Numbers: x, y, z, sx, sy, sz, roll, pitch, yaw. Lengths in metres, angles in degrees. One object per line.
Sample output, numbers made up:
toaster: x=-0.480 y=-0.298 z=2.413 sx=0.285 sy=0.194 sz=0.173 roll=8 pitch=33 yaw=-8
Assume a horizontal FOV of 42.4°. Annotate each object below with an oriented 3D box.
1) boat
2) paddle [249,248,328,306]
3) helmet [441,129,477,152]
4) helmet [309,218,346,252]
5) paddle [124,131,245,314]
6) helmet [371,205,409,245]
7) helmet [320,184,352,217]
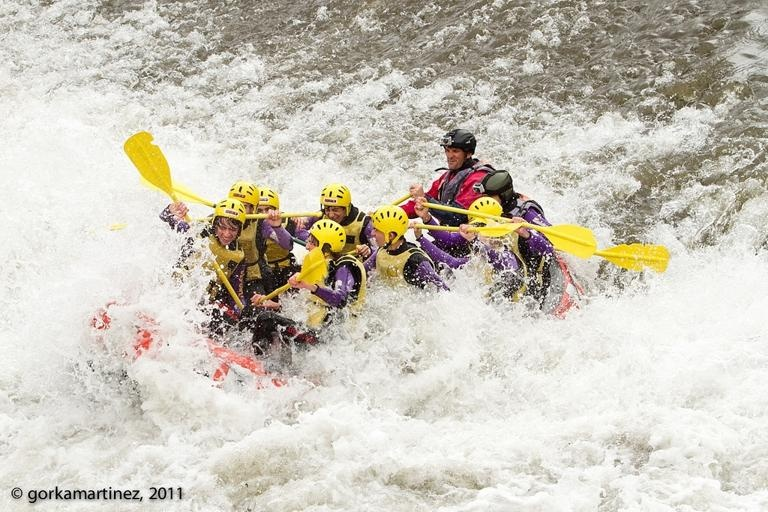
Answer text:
boat: x=-0.782 y=0.996 z=14.191 sx=5.234 sy=0.916 sz=2.605 roll=21 pitch=25 yaw=-41
paddle: x=-1.286 y=0.368 z=13.752 sx=1.267 sy=0.469 sz=0.109 roll=-33 pitch=-2 yaw=-5
helmet: x=1.164 y=-1.819 z=15.517 sx=0.421 sy=0.353 sz=0.368 roll=-5 pitch=17 yaw=-30
helmet: x=-0.796 y=-0.284 z=14.004 sx=0.504 sy=0.416 sz=0.359 roll=4 pitch=29 yaw=-24
paddle: x=-3.026 y=-0.407 z=14.929 sx=0.533 sy=3.646 sz=0.145 roll=-35 pitch=7 yaw=10
helmet: x=0.071 y=-0.418 z=13.992 sx=0.518 sy=0.576 sz=0.429 roll=15 pitch=16 yaw=-2
helmet: x=-0.737 y=-0.862 z=14.818 sx=0.368 sy=0.436 sz=0.484 roll=10 pitch=29 yaw=5
